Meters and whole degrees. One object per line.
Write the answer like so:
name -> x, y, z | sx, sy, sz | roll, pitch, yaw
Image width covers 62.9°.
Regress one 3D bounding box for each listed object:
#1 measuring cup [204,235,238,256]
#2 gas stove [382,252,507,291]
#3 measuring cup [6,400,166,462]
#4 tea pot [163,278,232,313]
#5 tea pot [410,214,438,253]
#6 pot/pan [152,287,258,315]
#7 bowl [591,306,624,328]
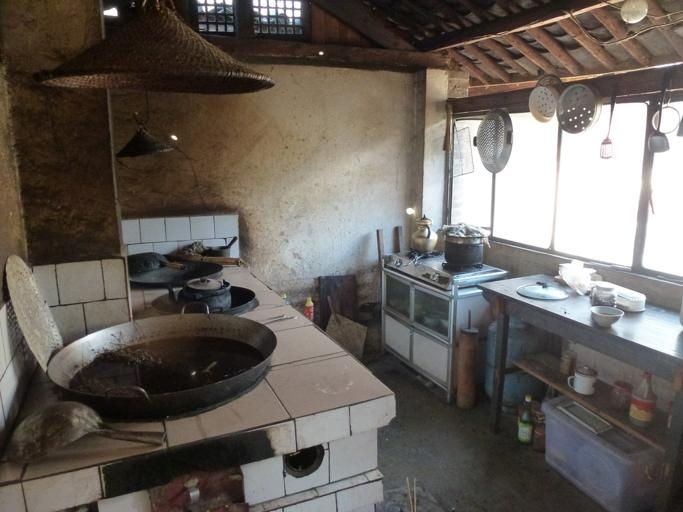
measuring cup -> -0.945, -0.080, 4.365 | 0.231, 0.161, 0.129 | -1, 9, -8
gas stove -> 0.830, 0.116, 4.292 | 0.836, 0.136, 0.929 | -4, 10, -26
measuring cup -> -0.929, 0.626, 2.020 | 0.547, 0.169, 0.149 | -6, 14, -11
tea pot -> -0.760, 0.163, 2.950 | 0.299, 0.179, 0.300 | 7, 11, -1
tea pot -> 0.642, -0.175, 4.640 | 0.265, 0.386, 0.318 | 0, 17, 2
pot/pan -> -0.736, 0.216, 3.208 | 0.495, 0.131, 0.577 | 2, 10, 8
bowl -> 1.491, 0.327, 3.141 | 0.154, 0.077, 0.254 | 3, 15, 25
